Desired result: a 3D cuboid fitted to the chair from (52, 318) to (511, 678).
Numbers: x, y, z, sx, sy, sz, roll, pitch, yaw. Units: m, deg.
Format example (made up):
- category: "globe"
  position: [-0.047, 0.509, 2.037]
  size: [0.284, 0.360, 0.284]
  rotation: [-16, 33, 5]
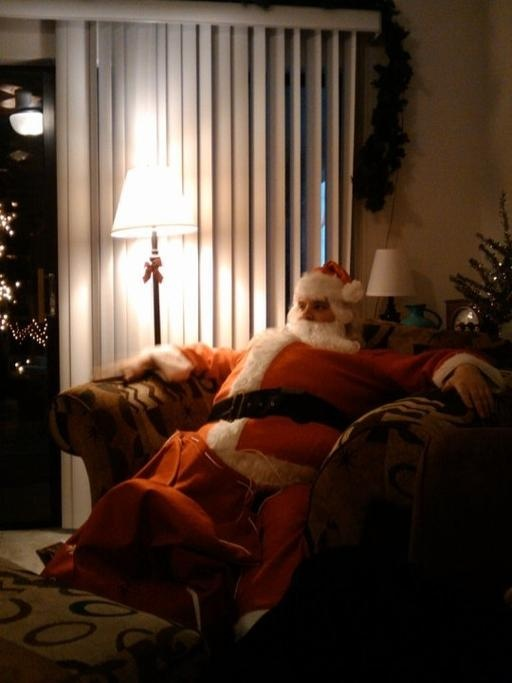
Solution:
- category: "chair"
  position: [-0.020, 0.315, 1.396]
  size: [0.649, 0.283, 0.743]
  rotation: [-16, -3, 35]
